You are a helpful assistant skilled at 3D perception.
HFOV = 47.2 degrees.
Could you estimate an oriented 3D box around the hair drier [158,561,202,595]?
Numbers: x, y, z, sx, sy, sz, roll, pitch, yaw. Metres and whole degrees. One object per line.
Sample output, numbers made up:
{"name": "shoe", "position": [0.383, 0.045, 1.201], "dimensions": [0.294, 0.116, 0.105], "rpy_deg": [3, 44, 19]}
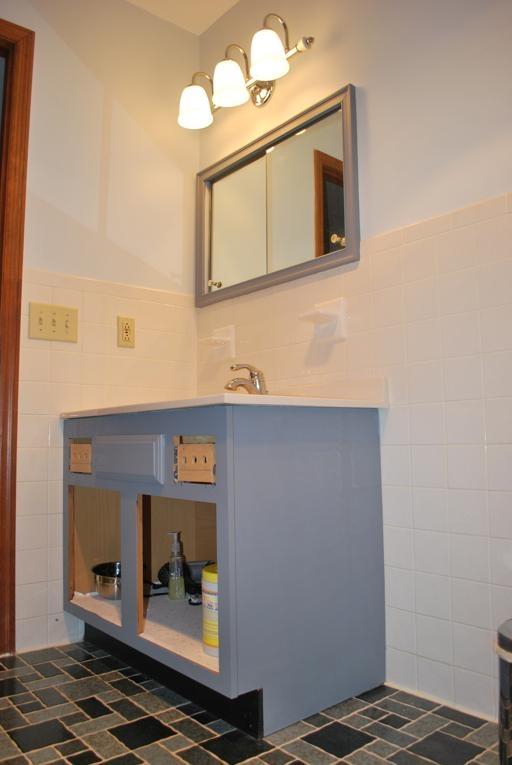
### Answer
{"name": "hair drier", "position": [-0.214, 0.567, 1.726], "dimensions": [0.081, 0.047, 0.112], "rpy_deg": [0, 2, 11]}

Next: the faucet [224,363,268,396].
{"name": "faucet", "position": [-0.041, -0.013, 1.695], "dimensions": [0.062, 0.113, 0.166], "rpy_deg": [-2, -5, 42]}

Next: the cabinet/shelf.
{"name": "cabinet/shelf", "position": [-0.145, 0.393, 1.555], "dimensions": [0.454, 0.672, 0.822], "rpy_deg": [3, -7, -43]}
